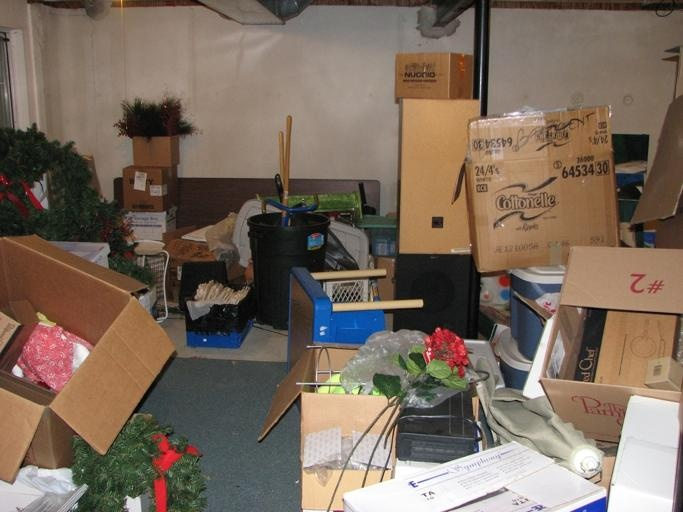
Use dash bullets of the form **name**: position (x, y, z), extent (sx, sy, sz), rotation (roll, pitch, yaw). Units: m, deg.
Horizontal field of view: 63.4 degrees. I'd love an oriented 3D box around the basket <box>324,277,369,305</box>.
- **basket**: position (0.052, 0.247, 3.795), extent (0.194, 0.126, 0.200), rotation (1, 5, -1)
